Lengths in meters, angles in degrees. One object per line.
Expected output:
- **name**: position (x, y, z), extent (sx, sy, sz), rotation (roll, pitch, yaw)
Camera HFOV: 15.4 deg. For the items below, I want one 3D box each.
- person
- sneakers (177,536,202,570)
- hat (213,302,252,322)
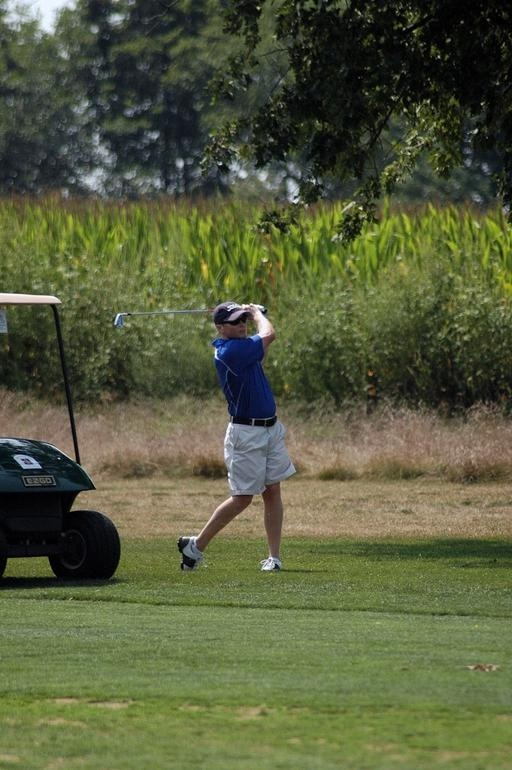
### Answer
- **person**: position (-0.098, 0.364, 12.026), extent (0.664, 1.693, 0.612), rotation (2, 4, 1)
- **sneakers**: position (-0.421, 1.068, 11.922), extent (0.116, 0.308, 0.093), rotation (-4, 21, 4)
- **hat**: position (-0.182, -0.415, 11.958), extent (0.121, 0.098, 0.166), rotation (-9, -5, -40)
